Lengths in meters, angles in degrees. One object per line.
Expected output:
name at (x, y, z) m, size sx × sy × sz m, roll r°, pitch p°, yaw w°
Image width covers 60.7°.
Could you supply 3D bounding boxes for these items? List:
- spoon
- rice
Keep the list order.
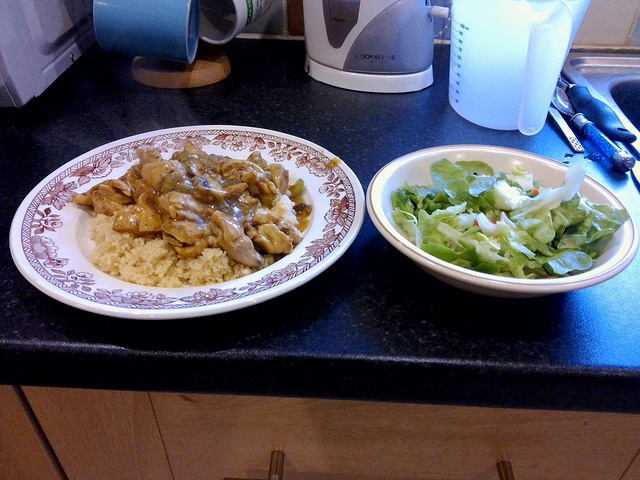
spoon at (0.580, -0.255, 1.161) m, size 0.062 × 0.047 × 0.303 m, roll -17°, pitch 37°, yaw 9°
rice at (-0.249, 0.034, 0.828) m, size 0.285 × 0.044 × 0.102 m, roll 18°, pitch 53°, yaw 10°
